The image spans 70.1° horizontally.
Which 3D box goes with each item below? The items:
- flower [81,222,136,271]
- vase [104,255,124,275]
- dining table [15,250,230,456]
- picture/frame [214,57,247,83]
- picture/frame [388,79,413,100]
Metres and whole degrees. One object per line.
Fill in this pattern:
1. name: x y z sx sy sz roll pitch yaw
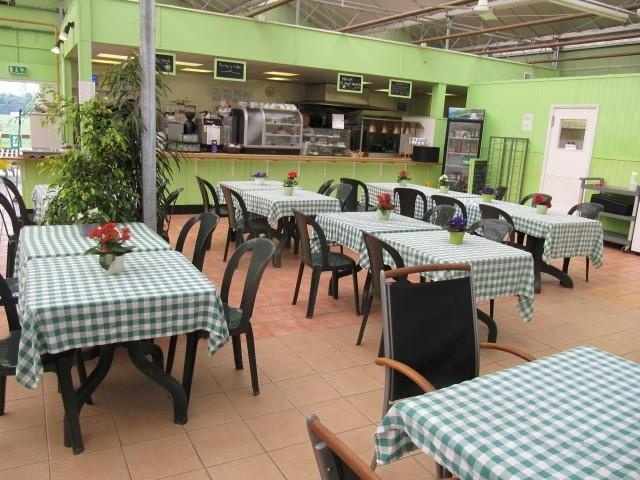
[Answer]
1. flower: -1.367 0.063 2.991 0.286 0.297 0.306 -19 0 -6
2. vase: -1.296 0.172 2.932 0.138 0.106 0.122 4 16 -6
3. dining table: -1.350 0.643 3.074 1.284 0.596 1.361 -4 4 -30
4. picture/frame: -1.746 -3.367 8.875 0.568 0.405 0.357 -2 16 -13
5. picture/frame: 1.904 -3.645 10.800 0.516 0.415 0.591 3 14 3
